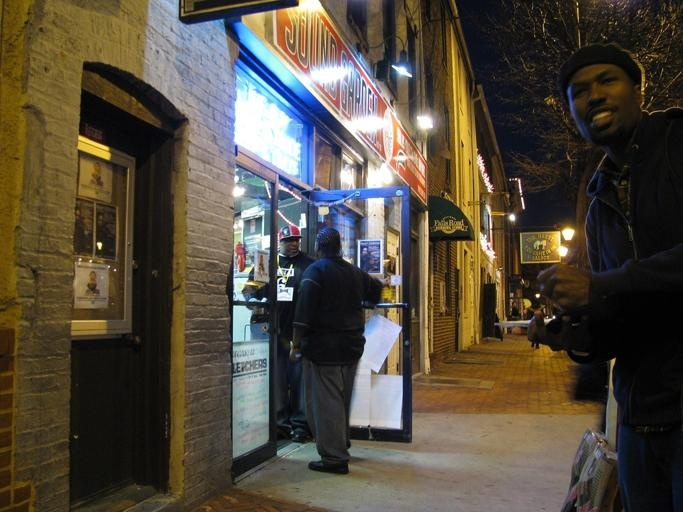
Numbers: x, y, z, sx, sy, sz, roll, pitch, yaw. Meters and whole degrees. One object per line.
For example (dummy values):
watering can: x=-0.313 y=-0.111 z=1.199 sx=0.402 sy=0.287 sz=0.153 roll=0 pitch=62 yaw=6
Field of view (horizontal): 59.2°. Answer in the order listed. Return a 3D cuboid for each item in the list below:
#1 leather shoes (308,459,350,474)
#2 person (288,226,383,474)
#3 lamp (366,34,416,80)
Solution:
leather shoes: x=-0.127 y=1.996 z=5.810 sx=0.356 sy=0.170 sz=0.140 roll=3 pitch=-6 yaw=21
person: x=-0.093 y=0.900 z=6.156 sx=0.574 sy=2.433 sz=1.037 roll=-8 pitch=-10 yaw=35
lamp: x=1.015 y=-3.616 z=10.954 sx=0.619 sy=1.013 sz=0.415 roll=4 pitch=-10 yaw=17
